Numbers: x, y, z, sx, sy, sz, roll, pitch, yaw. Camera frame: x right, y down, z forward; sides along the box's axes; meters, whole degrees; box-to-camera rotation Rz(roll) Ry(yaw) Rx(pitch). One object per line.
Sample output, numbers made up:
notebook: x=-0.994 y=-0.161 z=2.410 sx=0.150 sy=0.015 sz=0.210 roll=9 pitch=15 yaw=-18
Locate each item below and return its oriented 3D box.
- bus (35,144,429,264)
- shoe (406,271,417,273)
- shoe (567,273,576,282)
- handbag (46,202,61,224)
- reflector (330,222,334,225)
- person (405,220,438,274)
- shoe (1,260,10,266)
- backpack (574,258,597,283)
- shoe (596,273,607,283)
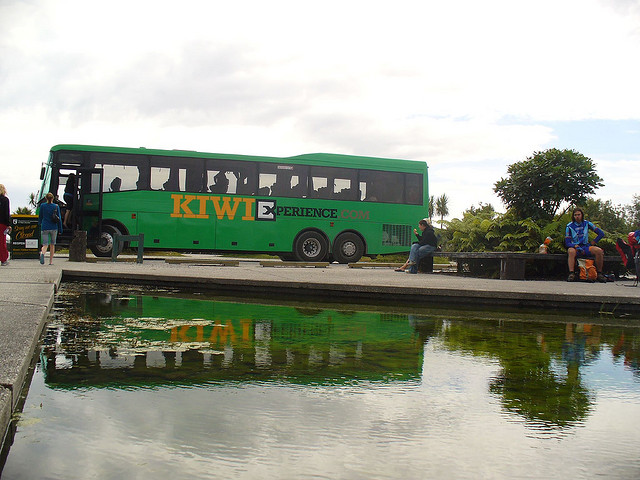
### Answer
bus: x=-3.077 y=-1.316 z=21.894 sx=14.266 sy=4.063 sz=3.525 roll=2 pitch=3 yaw=-14
shoe: x=2.746 y=0.961 z=16.288 sx=0.218 sy=0.075 sz=0.488 roll=2 pitch=2 yaw=-3
shoe: x=6.059 y=0.922 z=13.145 sx=0.265 sy=0.252 sz=0.150 roll=14 pitch=-12 yaw=-36
handbag: x=-7.439 y=-0.713 z=15.235 sx=0.238 sy=0.541 sz=0.402 roll=2 pitch=2 yaw=4
reflector: x=0.467 y=-0.650 z=21.462 sx=0.088 sy=0.080 sz=0.047 roll=0 pitch=-7 yaw=-2
person: x=3.117 y=0.200 z=16.458 sx=0.904 sy=1.602 sz=1.477 roll=2 pitch=2 yaw=10
shoe: x=-8.341 y=0.610 z=14.382 sx=0.375 sy=0.156 sz=0.125 roll=-2 pitch=-5 yaw=23
backpack: x=6.391 y=0.725 z=12.992 sx=0.572 sy=0.617 sz=0.346 roll=-2 pitch=-2 yaw=-17
shoe: x=6.749 y=0.902 z=13.001 sx=0.202 sy=0.208 sz=0.645 roll=3 pitch=2 yaw=28
